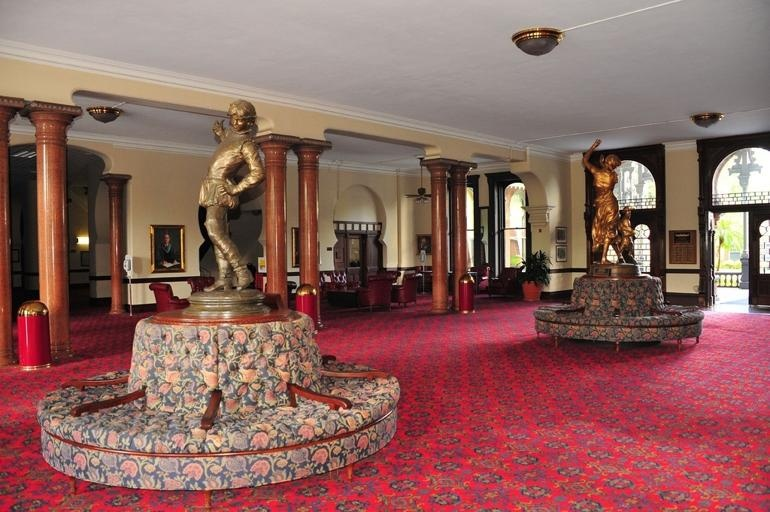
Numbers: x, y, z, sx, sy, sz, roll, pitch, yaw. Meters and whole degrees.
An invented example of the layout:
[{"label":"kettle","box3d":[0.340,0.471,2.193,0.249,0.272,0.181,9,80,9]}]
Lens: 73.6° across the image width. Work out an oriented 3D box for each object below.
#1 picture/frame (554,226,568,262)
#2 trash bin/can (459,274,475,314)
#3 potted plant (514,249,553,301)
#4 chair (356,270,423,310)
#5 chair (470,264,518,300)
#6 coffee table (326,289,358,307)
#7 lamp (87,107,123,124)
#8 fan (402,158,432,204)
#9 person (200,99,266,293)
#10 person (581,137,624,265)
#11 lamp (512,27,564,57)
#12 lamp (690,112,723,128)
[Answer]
[{"label":"picture/frame","box3d":[5.934,-0.417,17.351,0.151,1.209,0.800,3,4,42]},{"label":"trash bin/can","box3d":[2.130,0.958,13.656,0.368,1.003,0.285,1,3,17]},{"label":"potted plant","box3d":[4.928,0.592,17.009,1.045,1.508,0.999,0,-1,-1]},{"label":"chair","box3d":[0.089,0.993,15.068,1.022,1.041,1.842,3,5,44]},{"label":"chair","box3d":[3.864,0.887,18.015,0.956,1.324,1.696,6,-4,-43]},{"label":"coffee table","box3d":[-1.239,1.210,15.268,0.761,0.307,0.538,3,3,37]},{"label":"lamp","box3d":[-5.732,-2.972,10.623,0.665,0.317,0.347,0,4,10]},{"label":"fan","box3d":[1.283,-2.748,19.498,0.842,1.320,1.720,0,4,2]},{"label":"person","box3d":[-1.611,-0.665,5.424,0.613,2.007,0.738,-1,3,-20]},{"label":"person","box3d":[4.342,-1.104,10.315,0.689,2.390,1.002,1,4,23]},{"label":"lamp","box3d":[2.321,-3.247,7.821,0.762,0.321,0.357,1,4,12]},{"label":"lamp","box3d":[7.651,-3.269,12.354,0.443,0.169,0.437,1,2,6]}]
